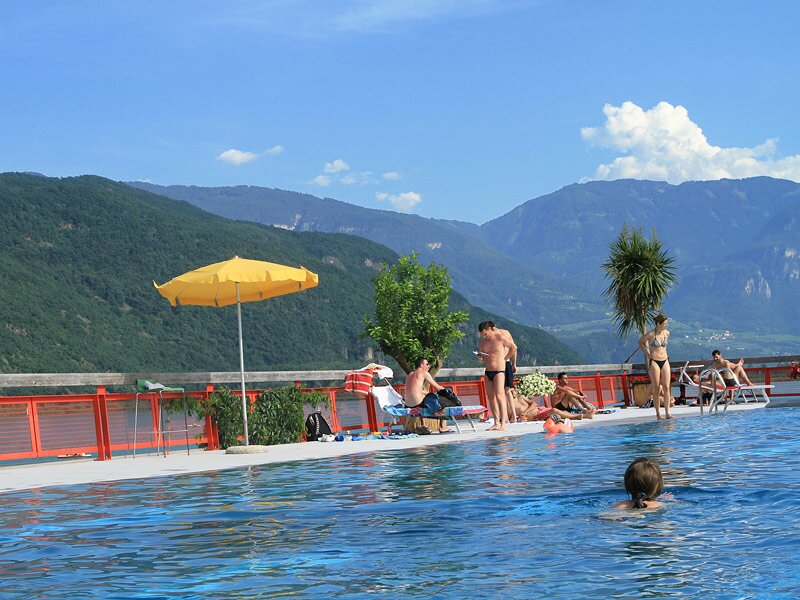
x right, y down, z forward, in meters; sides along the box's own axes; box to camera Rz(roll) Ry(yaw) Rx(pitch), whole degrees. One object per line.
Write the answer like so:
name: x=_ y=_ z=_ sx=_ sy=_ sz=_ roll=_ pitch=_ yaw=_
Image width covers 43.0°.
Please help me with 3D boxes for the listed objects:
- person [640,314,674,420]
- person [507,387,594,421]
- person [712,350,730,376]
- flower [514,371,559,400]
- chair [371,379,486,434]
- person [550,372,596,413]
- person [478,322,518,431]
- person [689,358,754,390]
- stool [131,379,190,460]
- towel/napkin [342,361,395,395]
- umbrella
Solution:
person: x=5.239 y=1.333 z=20.536 sx=0.556 sy=2.140 sz=1.524 roll=-7 pitch=-6 yaw=14
person: x=3.222 y=2.270 z=21.678 sx=1.719 sy=1.028 sz=0.757 roll=-3 pitch=-4 yaw=6
person: x=7.343 y=1.414 z=23.114 sx=0.306 sy=0.587 sz=1.140 roll=-8 pitch=-6 yaw=17
flower: x=3.054 y=1.967 z=23.296 sx=0.670 sy=0.490 sz=0.693 roll=1 pitch=-2 yaw=22
chair: x=0.456 y=2.202 z=19.885 sx=1.673 sy=0.834 sz=1.184 roll=-3 pitch=-1 yaw=12
person: x=3.753 y=2.037 z=21.983 sx=0.879 sy=0.927 sz=0.423 roll=-2 pitch=-6 yaw=26
person: x=1.926 y=1.431 z=19.773 sx=0.660 sy=2.106 sz=0.748 roll=-6 pitch=-6 yaw=5
person: x=7.587 y=1.614 z=23.625 sx=1.658 sy=0.811 sz=0.553 roll=12 pitch=-1 yaw=-27
stool: x=-4.092 y=1.912 z=17.001 sx=0.916 sy=1.245 sz=1.644 roll=-6 pitch=-6 yaw=0
towel/napkin: x=-0.726 y=1.559 z=20.292 sx=0.532 sy=0.476 sz=0.746 roll=-8 pitch=-9 yaw=25
umbrella: x=-2.706 y=0.767 z=17.312 sx=2.428 sy=3.345 sz=2.748 roll=-5 pitch=-6 yaw=-11
